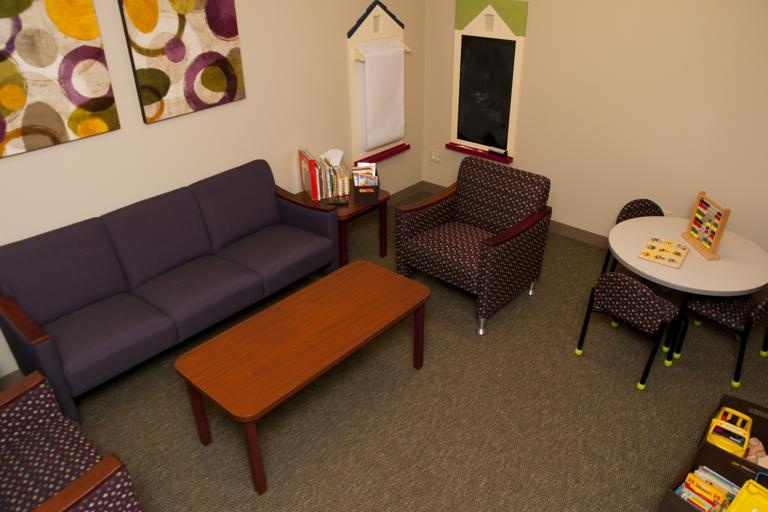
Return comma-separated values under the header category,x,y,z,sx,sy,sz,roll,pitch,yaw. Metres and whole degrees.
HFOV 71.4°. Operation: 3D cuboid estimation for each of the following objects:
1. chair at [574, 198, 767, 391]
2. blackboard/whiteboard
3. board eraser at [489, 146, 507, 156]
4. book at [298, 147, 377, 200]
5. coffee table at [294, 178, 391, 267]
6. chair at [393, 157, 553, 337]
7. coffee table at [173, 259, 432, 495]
category,x,y,z,sx,sy,sz,roll,pitch,yaw
chair,2.360,0.072,4.403,1.390,1.074,1.407,-33,49,-33
blackboard/whiteboard,1.144,-1.831,6.045,0.780,1.221,0.180,25,38,38
board eraser,1.311,-1.187,6.113,0.138,0.051,0.103,19,50,32
book,-0.481,-0.789,5.365,0.626,0.399,0.603,-21,35,-32
coffee table,-0.457,-0.390,5.604,0.822,0.814,0.844,22,38,34
chair,0.828,-0.168,5.082,1.121,1.242,0.995,24,37,36
coffee table,-0.593,0.582,4.023,1.772,0.311,0.776,-23,37,-35
